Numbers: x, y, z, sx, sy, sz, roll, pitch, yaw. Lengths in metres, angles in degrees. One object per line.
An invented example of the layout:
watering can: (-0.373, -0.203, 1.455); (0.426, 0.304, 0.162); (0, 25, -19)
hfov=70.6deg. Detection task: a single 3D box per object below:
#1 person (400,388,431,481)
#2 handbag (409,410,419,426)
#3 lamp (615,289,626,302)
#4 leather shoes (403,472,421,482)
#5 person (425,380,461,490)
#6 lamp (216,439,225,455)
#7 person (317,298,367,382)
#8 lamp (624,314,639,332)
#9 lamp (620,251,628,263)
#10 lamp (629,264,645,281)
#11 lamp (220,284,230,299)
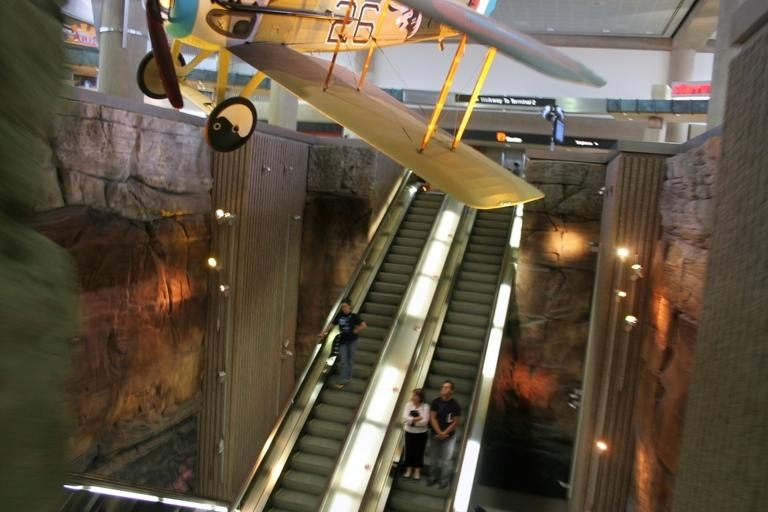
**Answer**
person: (0.375, 2.168, 6.590); (0.343, 1.093, 0.331); (3, 9, 0)
handbag: (0.349, 1.923, 6.408); (0.158, 0.158, 0.041); (0, -5, 27)
lamp: (4.106, 0.695, 9.426); (0.153, 0.126, 0.176); (4, 27, 18)
leather shoes: (0.347, 2.771, 6.818); (0.084, 0.109, 0.280); (3, -12, 23)
person: (0.697, 2.173, 6.556); (0.378, 1.161, 0.897); (10, -22, 11)
lamp: (-2.856, 3.325, 9.458); (0.114, 0.283, 0.103); (7, -4, -9)
person: (-0.648, 1.364, 8.459); (0.628, 1.275, 0.937); (18, -22, -10)
lamp: (4.138, 1.128, 9.061); (0.238, 0.235, 0.196); (13, 9, 2)
lamp: (4.133, 0.012, 9.319); (0.062, 0.174, 0.131); (15, 15, -10)
lamp: (4.243, 0.279, 9.099); (0.284, 0.269, 0.251); (-5, 5, 27)
lamp: (-2.763, 0.614, 9.239); (0.180, 0.205, 0.207); (6, 8, 16)
